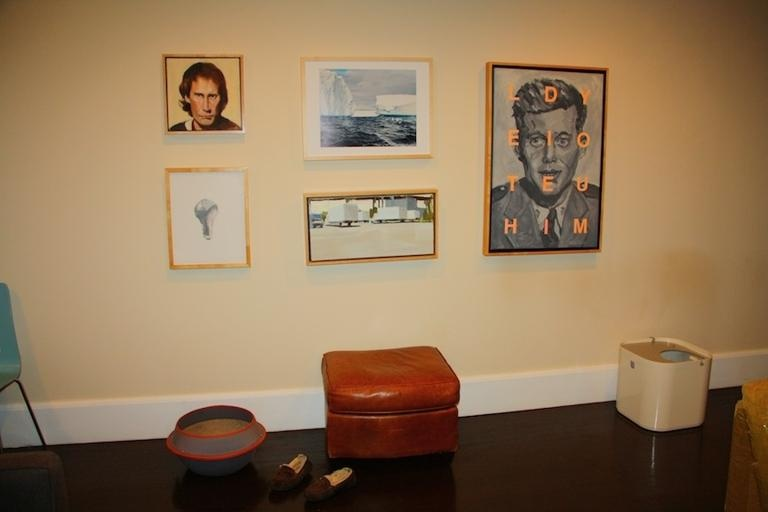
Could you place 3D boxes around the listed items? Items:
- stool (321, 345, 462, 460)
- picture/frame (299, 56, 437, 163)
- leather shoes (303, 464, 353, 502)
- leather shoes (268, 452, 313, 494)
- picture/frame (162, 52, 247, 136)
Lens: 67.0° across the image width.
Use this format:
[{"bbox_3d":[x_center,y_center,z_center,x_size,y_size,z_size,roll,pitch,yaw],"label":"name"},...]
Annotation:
[{"bbox_3d":[0.028,1.005,4.064,0.928,0.551,0.696,-2,14,-16],"label":"stool"},{"bbox_3d":[-0.157,-1.054,4.092,0.725,0.547,0.019,-1,7,-5],"label":"picture/frame"},{"bbox_3d":[-0.400,1.464,3.715,0.179,0.131,0.406,6,1,17],"label":"leather shoes"},{"bbox_3d":[-0.584,1.398,3.736,0.125,0.093,0.252,10,14,30],"label":"leather shoes"},{"bbox_3d":[-1.257,-1.131,3.993,0.544,0.553,0.023,-1,8,-3],"label":"picture/frame"}]
